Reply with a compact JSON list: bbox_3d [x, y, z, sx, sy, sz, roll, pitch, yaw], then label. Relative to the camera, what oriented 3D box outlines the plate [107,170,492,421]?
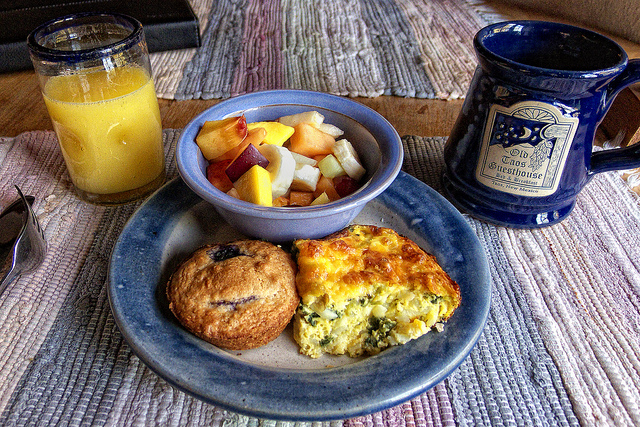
[{"bbox_3d":[-0.051,0.167,1.347,0.925,0.124,0.663,3,49,3],"label":"plate"}]

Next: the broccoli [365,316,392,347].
[{"bbox_3d":[0.135,0.277,1.286,0.061,0.023,0.067,-1,54,24],"label":"broccoli"}]

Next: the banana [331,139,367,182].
[{"bbox_3d":[0.076,-0.145,1.458,0.029,0.102,0.109,-31,81,23],"label":"banana"}]
